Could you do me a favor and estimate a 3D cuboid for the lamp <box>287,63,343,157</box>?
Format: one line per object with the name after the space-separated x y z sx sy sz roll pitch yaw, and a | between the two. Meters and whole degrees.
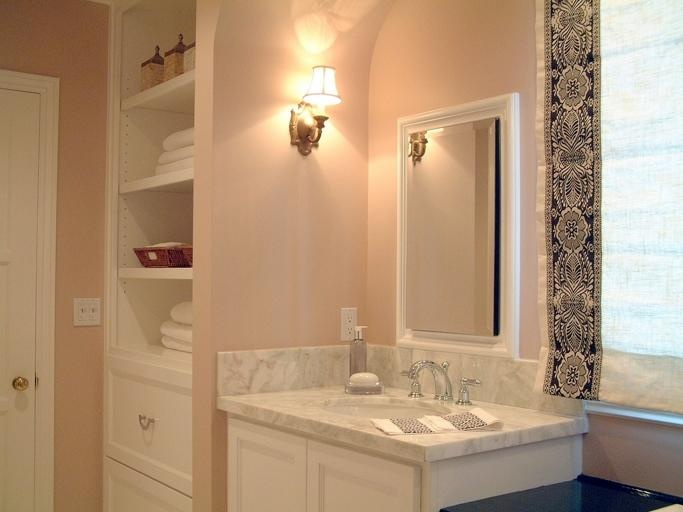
-0.123 -0.619 2.300 0.206 0.374 0.223 2 13 -6 | lamp

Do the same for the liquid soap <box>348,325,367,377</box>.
0.077 0.423 2.403 0.085 0.217 0.176 4 13 2 | liquid soap

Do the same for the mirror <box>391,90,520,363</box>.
0.460 -0.113 2.151 0.723 1.064 0.163 15 17 41 | mirror

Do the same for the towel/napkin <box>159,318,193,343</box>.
-0.759 0.341 2.424 0.115 0.036 0.120 15 5 8 | towel/napkin
